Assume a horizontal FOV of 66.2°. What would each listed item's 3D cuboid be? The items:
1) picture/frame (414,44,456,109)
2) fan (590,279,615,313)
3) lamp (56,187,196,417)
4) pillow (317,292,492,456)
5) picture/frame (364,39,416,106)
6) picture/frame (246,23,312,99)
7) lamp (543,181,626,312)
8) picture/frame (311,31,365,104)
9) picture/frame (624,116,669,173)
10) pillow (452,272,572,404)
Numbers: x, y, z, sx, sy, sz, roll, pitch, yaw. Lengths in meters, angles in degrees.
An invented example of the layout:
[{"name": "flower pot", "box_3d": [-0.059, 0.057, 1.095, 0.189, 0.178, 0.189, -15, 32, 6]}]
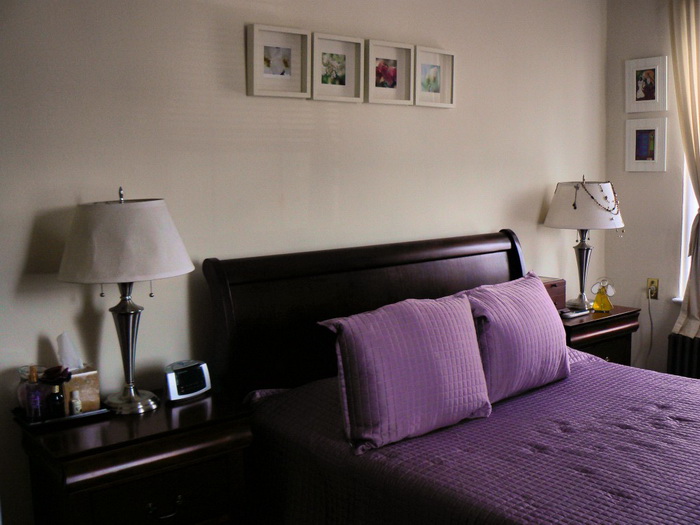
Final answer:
[{"name": "picture/frame", "box_3d": [0.495, -1.064, 3.109, 0.324, 0.333, 0.023, -8, 12, -35]}, {"name": "fan", "box_3d": [1.770, 0.234, 3.779, 0.177, 0.247, 0.120, -1, -7, 23]}, {"name": "lamp", "box_3d": [-0.895, 0.150, 2.164, 0.476, 0.893, 0.494, -1, 6, -10]}, {"name": "pillow", "box_3d": [0.278, 0.435, 2.238, 0.702, 0.549, 0.289, -9, 16, -27]}, {"name": "picture/frame", "box_3d": [0.215, -1.024, 2.925, 0.334, 0.315, 0.038, -11, 18, -39]}, {"name": "picture/frame", "box_3d": [-0.354, -0.969, 2.560, 0.358, 0.335, 0.048, -5, 7, -44]}, {"name": "lamp", "box_3d": [1.594, -0.123, 3.660, 0.474, 0.924, 0.497, 1, 10, 20]}, {"name": "picture/frame", "box_3d": [-0.076, -1.002, 2.740, 0.038, 0.362, 0.360, 6, 8, 44]}, {"name": "picture/frame", "box_3d": [2.214, -0.880, 3.975, 0.020, 0.512, 0.358, -5, 9, -40]}, {"name": "pillow", "box_3d": [0.809, 0.347, 2.594, 0.587, 0.531, 0.232, -8, 7, -36]}]
